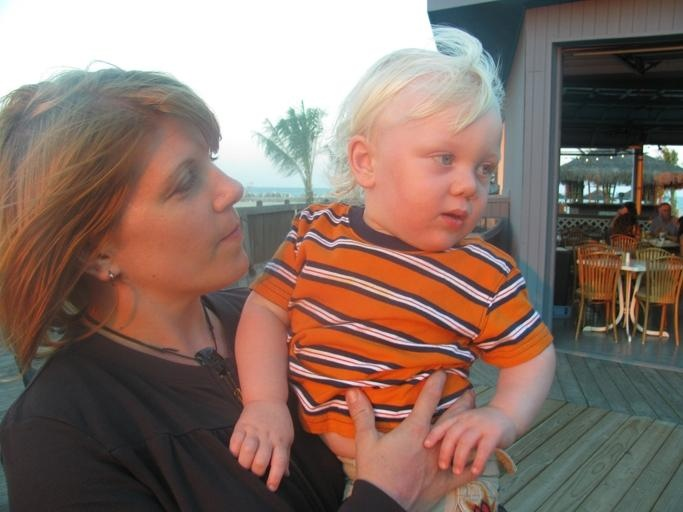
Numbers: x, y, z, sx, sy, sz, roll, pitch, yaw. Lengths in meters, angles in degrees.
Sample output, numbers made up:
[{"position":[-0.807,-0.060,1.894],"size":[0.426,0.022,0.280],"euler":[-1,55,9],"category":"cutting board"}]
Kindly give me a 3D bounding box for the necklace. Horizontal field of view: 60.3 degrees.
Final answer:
[{"position":[-0.539,0.331,1.871],"size":[0.333,0.105,0.331],"euler":[31,18,-5],"category":"necklace"}]
